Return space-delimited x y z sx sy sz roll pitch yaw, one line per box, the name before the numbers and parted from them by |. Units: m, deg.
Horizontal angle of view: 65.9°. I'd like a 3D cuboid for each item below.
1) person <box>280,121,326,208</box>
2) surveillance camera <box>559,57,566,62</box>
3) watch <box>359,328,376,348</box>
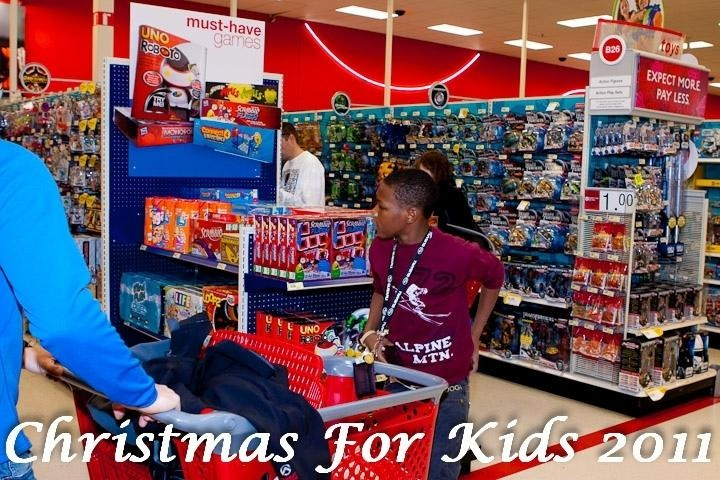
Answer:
person | -0.555 -0.740 5.298 0.411 0.781 0.590 1 6 -8
surveillance camera | 6.140 -5.518 16.819 0.118 0.032 0.134 2 -4 -14
watch | 0.033 0.457 2.560 0.054 0.067 0.069 14 34 17
